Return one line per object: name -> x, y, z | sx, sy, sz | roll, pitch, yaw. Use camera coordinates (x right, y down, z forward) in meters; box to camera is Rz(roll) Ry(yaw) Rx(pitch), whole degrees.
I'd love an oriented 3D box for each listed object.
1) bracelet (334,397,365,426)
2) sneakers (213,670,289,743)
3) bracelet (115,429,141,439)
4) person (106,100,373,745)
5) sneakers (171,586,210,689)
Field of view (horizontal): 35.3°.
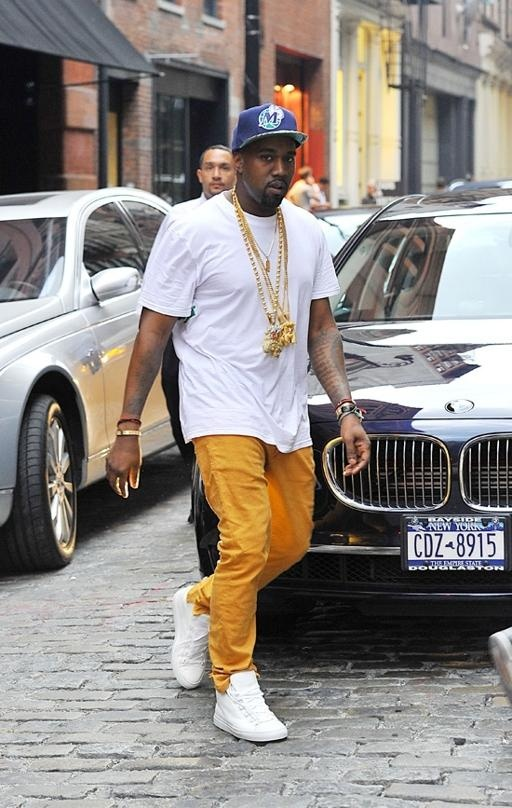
bracelet -> 0.262, 0.022, 2.250 | 0.080, 0.052, 0.082 | 3, 6, -4
sneakers -> -0.025, 0.742, 2.024 | 0.094, 0.140, 0.248 | -5, 6, -38
bracelet -> -0.327, 0.078, 2.099 | 0.050, 0.020, 0.148 | -3, -4, 5
person -> -0.043, 0.036, 2.101 | 0.696, 1.592, 0.606 | 0, 4, -19
sneakers -> -0.199, 0.696, 2.347 | 0.105, 0.322, 0.142 | 2, -5, -33
